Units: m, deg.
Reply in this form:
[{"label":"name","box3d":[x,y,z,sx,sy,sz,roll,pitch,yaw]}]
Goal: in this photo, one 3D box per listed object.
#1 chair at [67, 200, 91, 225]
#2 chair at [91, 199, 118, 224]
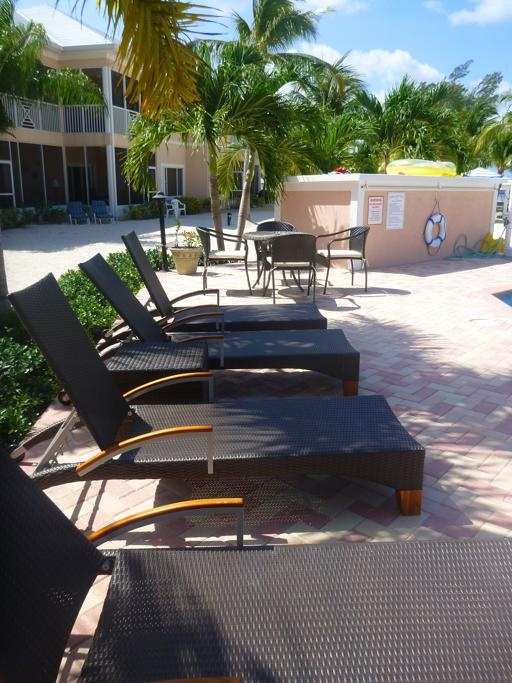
[{"label":"chair","box3d":[-8.176,-6.024,21.250,0.911,1.167,1.187,-11,40,-30]},{"label":"chair","box3d":[-7.147,-6.035,21.381,1.055,1.015,1.041,-10,18,-39]}]
